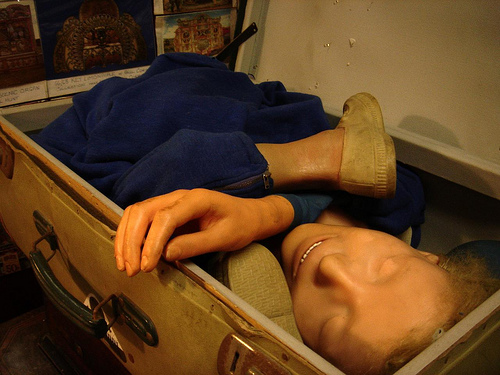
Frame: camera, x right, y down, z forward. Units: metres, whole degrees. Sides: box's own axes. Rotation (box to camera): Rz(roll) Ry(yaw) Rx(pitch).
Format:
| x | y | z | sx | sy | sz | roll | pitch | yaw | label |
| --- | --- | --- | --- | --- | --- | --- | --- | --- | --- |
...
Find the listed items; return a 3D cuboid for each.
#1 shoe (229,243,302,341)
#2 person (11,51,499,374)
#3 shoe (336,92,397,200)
| x | y | z | sx | sy | sz | roll | pitch | yaw | label |
| --- | --- | --- | --- | --- | --- | --- | --- | --- | --- |
| 0.020 | 0.158 | 0.661 | 0.045 | 0.110 | 0.156 | -28 | 69 | -5 | shoe |
| -0.032 | 0.005 | 0.856 | 0.639 | 0.326 | 0.913 | -27 | 43 | -34 | person |
| 0.242 | -0.129 | 0.946 | 0.113 | 0.107 | 0.307 | 9 | 57 | -22 | shoe |
